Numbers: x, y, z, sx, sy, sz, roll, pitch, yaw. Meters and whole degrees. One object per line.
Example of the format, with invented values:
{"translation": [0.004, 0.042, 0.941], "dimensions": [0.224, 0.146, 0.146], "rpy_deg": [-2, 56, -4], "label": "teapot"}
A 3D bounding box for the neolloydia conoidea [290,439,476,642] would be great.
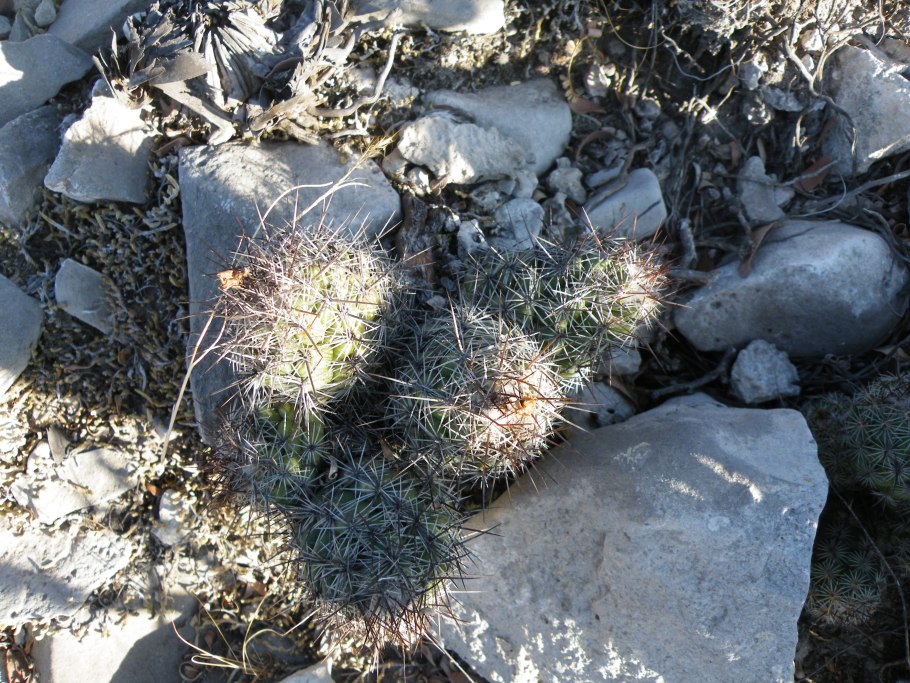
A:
{"translation": [-0.406, 1.046, 4.848], "dimensions": [0.854, 0.565, 0.815], "rpy_deg": [34, 75, 8], "label": "neolloydia conoidea"}

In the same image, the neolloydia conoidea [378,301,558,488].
{"translation": [0.093, 0.307, 4.827], "dimensions": [0.860, 0.693, 0.818], "rpy_deg": [30, 74, 7], "label": "neolloydia conoidea"}

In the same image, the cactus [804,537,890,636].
{"translation": [2.082, 1.277, 5.262], "dimensions": [0.393, 0.420, 0.459], "rpy_deg": [-15, 93, -14], "label": "cactus"}

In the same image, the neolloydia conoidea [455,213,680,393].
{"translation": [0.585, -0.182, 5.074], "dimensions": [0.857, 0.561, 0.787], "rpy_deg": [-2, 91, 7], "label": "neolloydia conoidea"}

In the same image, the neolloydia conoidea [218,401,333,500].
{"translation": [-0.878, 0.550, 4.877], "dimensions": [0.412, 0.312, 0.530], "rpy_deg": [4, 96, 4], "label": "neolloydia conoidea"}
